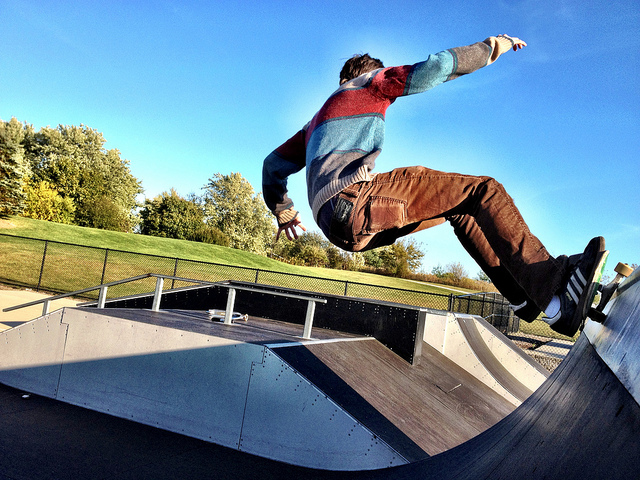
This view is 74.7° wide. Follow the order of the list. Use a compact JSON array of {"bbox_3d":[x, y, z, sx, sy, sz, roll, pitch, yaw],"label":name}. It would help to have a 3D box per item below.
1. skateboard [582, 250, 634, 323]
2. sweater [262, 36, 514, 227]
[{"bbox_3d":[1.302,0.237,1.910,0.103,0.386,0.142,18,-4,-18],"label":"skateboard"},{"bbox_3d":[0.258,-0.750,3.341,0.943,1.208,1.997,-5,4,-39],"label":"sweater"}]
